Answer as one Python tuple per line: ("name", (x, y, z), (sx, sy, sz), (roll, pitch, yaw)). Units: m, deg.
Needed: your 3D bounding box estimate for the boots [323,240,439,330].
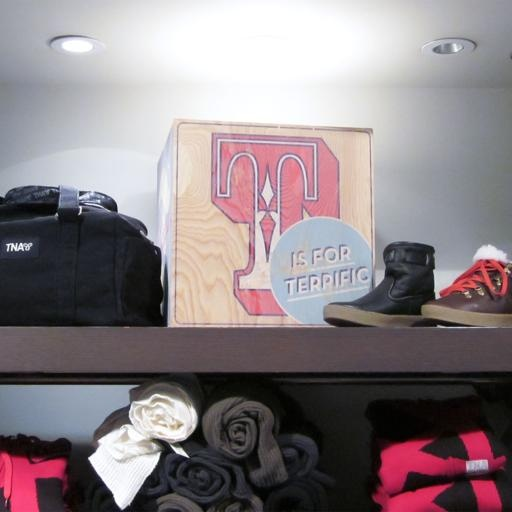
("boots", (0.225, 0.066, 1.342), (0.263, 0.219, 0.123), (1, -9, -2))
